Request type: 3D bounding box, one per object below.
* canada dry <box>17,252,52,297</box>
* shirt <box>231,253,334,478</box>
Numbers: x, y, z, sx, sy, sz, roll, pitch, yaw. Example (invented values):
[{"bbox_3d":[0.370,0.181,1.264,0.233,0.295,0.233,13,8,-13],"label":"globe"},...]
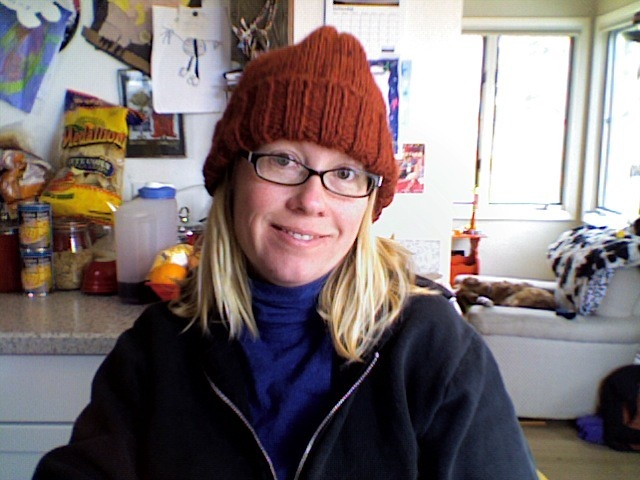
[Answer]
[{"bbox_3d":[-1.102,0.123,2.178,0.114,0.171,0.110,0,1,15],"label":"canada dry"},{"bbox_3d":[-0.094,0.290,1.296,0.267,0.446,0.112,2,-9,7],"label":"shirt"}]
